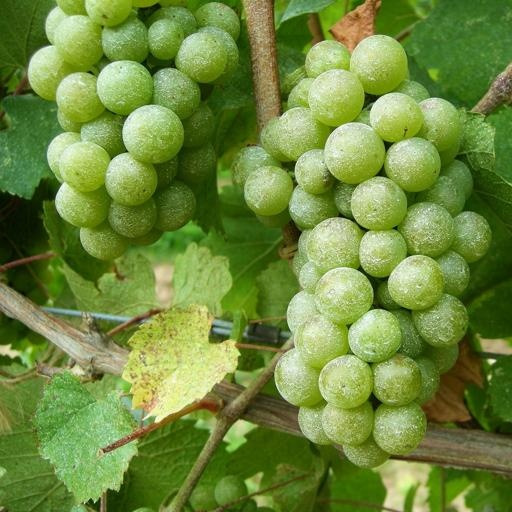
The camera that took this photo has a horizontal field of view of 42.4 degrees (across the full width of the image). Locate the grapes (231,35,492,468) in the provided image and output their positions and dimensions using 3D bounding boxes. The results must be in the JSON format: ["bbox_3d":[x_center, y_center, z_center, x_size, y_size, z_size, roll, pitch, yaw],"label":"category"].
[{"bbox_3d":[0.121,0.010,0.774,0.331,0.214,0.439,2,68,7],"label":"grapes"}]
